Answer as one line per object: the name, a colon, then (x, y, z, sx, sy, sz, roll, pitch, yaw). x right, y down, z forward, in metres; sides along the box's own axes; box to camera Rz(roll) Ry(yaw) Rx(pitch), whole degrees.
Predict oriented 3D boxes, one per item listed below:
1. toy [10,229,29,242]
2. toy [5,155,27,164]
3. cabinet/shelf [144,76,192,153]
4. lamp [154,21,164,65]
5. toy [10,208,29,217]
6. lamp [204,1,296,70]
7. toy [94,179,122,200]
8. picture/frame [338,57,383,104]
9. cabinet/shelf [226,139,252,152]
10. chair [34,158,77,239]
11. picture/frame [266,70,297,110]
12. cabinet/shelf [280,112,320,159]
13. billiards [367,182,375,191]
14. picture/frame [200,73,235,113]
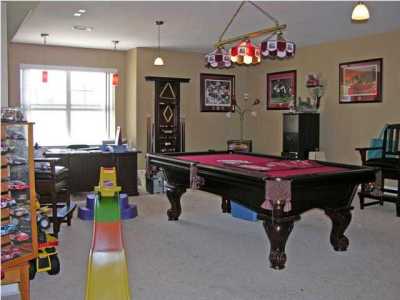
toy: (-1.513, 0.728, 2.806, 0.134, 0.040, 0.079, 13, 13, 30)
toy: (-1.561, 0.074, 2.836, 0.136, 0.040, 0.079, 8, 1, 6)
cabinet/shelf: (-0.719, -0.708, 7.553, 1.048, 2.012, 0.302, 3, 31, -3)
lamp: (-0.800, -2.066, 6.465, 0.197, 0.800, 0.190, -6, 18, -28)
toy: (-1.509, 0.522, 2.797, 0.116, 0.033, 0.068, 9, 8, 35)
lamp: (0.696, -1.728, 4.805, 1.471, 1.277, 0.447, 5, 8, 43)
toy: (-0.801, 0.348, 2.934, 0.171, 0.149, 0.187, 0, 8, -6)
picture/frame: (3.290, -1.414, 6.737, 1.060, 0.997, 0.112, 0, 2, 35)
cabinet/shelf: (0.867, -0.075, 7.284, 0.516, 0.241, 0.774, 1, 7, 6)
chair: (-1.881, 0.643, 4.310, 0.430, 0.680, 0.962, -2, 4, -13)
picture/frame: (2.035, -1.482, 8.163, 0.091, 1.239, 1.186, -1, 1, -37)
cabinet/shelf: (2.249, -0.334, 7.490, 0.611, 0.998, 0.575, -6, 10, -20)
billiards: (1.884, 0.402, 3.667, 0.068, 0.095, 0.035, 25, 4, 30)
picture/frame: (0.415, -1.510, 8.672, 1.124, 1.093, 0.079, 0, 3, -25)
